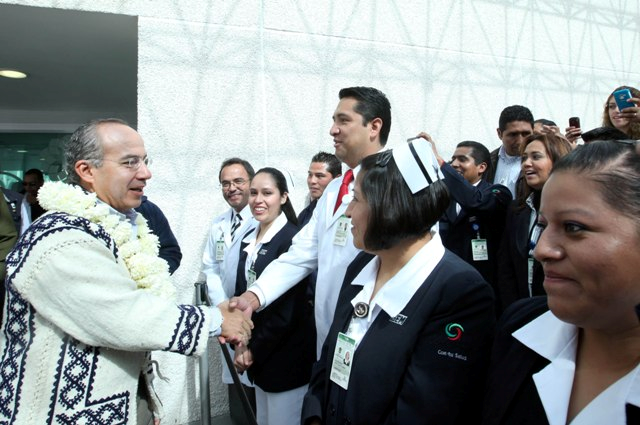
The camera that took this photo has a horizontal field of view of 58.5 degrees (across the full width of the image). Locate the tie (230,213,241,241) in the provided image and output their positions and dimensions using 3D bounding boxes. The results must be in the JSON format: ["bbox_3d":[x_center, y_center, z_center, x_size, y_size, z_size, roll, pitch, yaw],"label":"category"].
[{"bbox_3d":[-0.797,0.130,5.384,0.068,0.296,0.050,1,-42,23],"label":"tie"}]

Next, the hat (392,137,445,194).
[{"bbox_3d":[0.555,-0.265,3.197,0.307,0.294,0.116,-21,5,4],"label":"hat"}]
